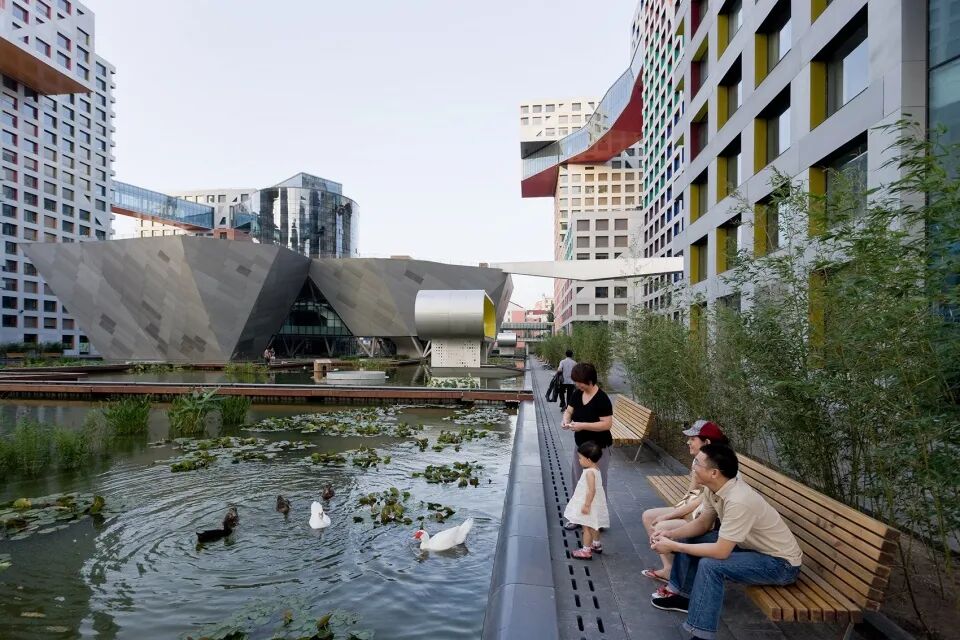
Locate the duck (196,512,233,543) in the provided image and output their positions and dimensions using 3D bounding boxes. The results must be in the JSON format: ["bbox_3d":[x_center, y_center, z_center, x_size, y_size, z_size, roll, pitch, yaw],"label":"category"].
[{"bbox_3d":[-3.225,2.526,7.250,0.531,0.307,0.369,3,-9,-43],"label":"duck"}]

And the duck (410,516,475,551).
[{"bbox_3d":[-0.433,2.534,7.013,0.661,0.293,0.329,-6,-4,-11],"label":"duck"}]

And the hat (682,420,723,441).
[{"bbox_3d":[2.221,1.076,5.819,0.323,0.125,0.219,1,-4,14],"label":"hat"}]

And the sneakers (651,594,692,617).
[{"bbox_3d":[1.763,2.607,5.449,0.364,0.150,0.143,9,-6,13],"label":"sneakers"}]

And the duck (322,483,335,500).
[{"bbox_3d":[-2.193,2.445,8.405,0.139,0.146,0.207,1,6,5],"label":"duck"}]

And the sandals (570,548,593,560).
[{"bbox_3d":[1.056,2.435,6.121,0.203,0.147,0.105,5,-1,10],"label":"sandals"}]

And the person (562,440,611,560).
[{"bbox_3d":[1.113,1.897,6.260,0.433,1.183,0.304,-3,-5,7],"label":"person"}]

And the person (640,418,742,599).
[{"bbox_3d":[2.147,1.941,5.975,0.573,1.021,1.627,1,-1,9],"label":"person"}]

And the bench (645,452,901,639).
[{"bbox_3d":[2.823,1.944,5.167,0.672,1.134,1.277,-1,-7,-22],"label":"bench"}]

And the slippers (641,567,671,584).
[{"bbox_3d":[1.719,2.501,5.785,0.210,0.046,0.111,-2,-1,43],"label":"slippers"}]

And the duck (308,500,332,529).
[{"bbox_3d":[-2.054,2.481,7.521,0.269,0.306,0.274,-1,-6,-16],"label":"duck"}]

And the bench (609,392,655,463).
[{"bbox_3d":[2.234,1.780,9.931,0.766,0.901,2.117,6,1,2],"label":"bench"}]

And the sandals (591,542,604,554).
[{"bbox_3d":[1.237,2.398,6.195,0.061,0.069,0.159,2,2,2],"label":"sandals"}]

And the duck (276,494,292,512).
[{"bbox_3d":[-2.681,2.490,7.974,0.107,0.189,0.349,7,-1,-25],"label":"duck"}]
